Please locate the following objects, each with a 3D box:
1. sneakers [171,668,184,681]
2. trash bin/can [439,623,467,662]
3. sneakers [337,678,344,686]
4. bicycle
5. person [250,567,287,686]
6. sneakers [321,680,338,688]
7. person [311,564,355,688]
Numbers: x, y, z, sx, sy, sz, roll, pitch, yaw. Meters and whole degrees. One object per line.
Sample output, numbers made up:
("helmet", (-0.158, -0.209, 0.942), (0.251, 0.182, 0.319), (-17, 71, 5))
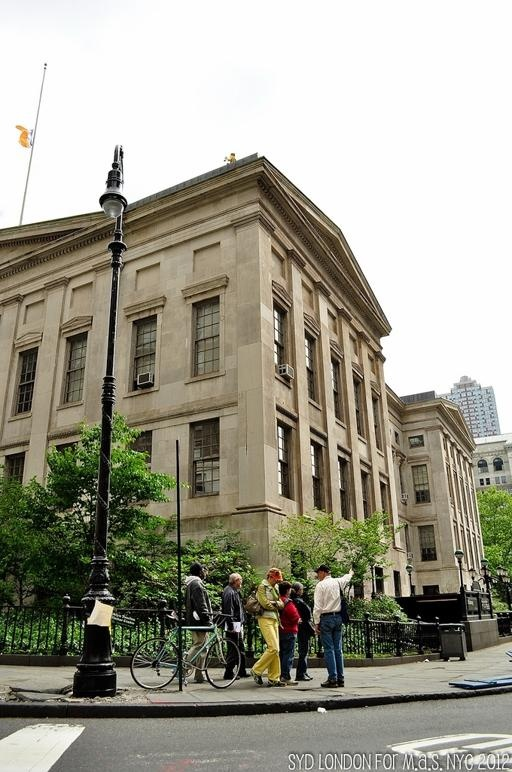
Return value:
("sneakers", (-1.160, 4.319, 8.352), (0.248, 0.132, 0.363), (9, -17, -5))
("trash bin/can", (5.821, 7.576, 16.510), (0.731, 1.002, 1.336), (-8, -23, 15))
("sneakers", (1.380, 4.808, 9.046), (0.075, 0.095, 0.216), (1, -15, 4))
("bicycle", (-1.258, 4.207, 8.883), (2.182, 1.407, 0.966), (11, -30, -24))
("person", (0.211, 4.069, 9.527), (0.557, 1.806, 1.094), (-2, -22, -1))
("sneakers", (1.166, 4.719, 8.860), (0.267, 0.112, 0.363), (-5, -23, 6))
("person", (1.303, 3.960, 9.310), (0.621, 1.877, 0.600), (-4, -21, 6))
